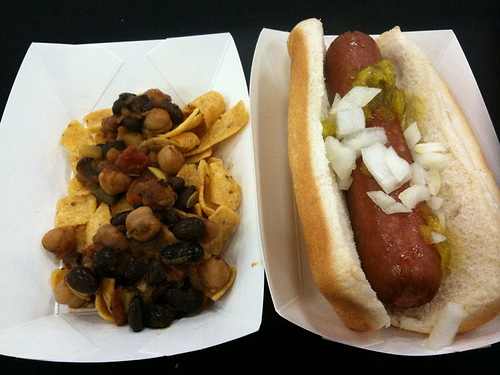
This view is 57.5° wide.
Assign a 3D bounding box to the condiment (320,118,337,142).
[{"bbox_3d":[0.525,-0.387,3.047,0.099,0.088,0.144,9,91,13],"label":"condiment"}]
